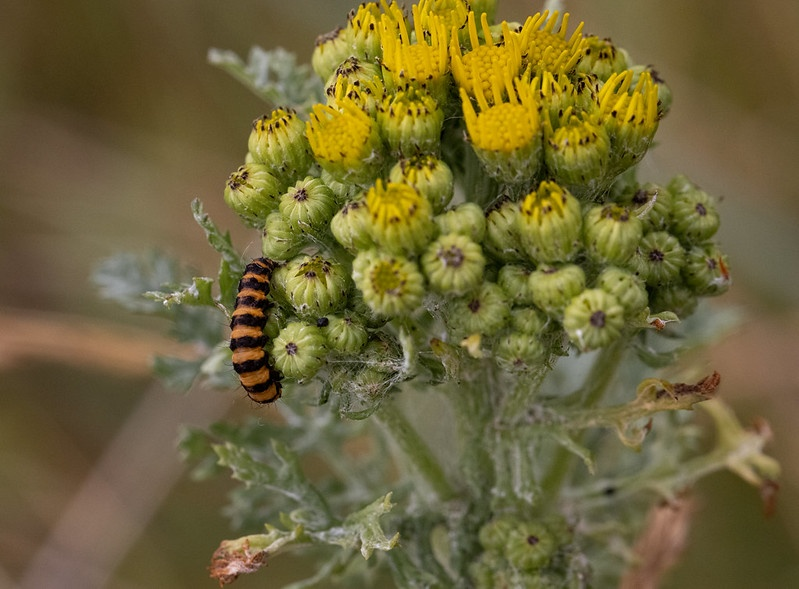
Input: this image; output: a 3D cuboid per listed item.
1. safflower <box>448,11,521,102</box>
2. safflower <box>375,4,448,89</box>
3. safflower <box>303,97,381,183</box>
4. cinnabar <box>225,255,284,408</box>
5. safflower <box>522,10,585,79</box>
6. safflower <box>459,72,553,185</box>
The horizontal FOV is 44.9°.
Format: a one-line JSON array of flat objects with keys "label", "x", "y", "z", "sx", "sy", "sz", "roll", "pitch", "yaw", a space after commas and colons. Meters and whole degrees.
[{"label": "safflower", "x": 0.414, "y": -1.128, "z": 4.630, "sx": 0.358, "sy": 0.421, "sz": 0.368, "roll": 20, "pitch": 48, "yaw": 43}, {"label": "safflower", "x": 0.056, "y": -1.136, "z": 4.523, "sx": 0.244, "sy": 0.452, "sz": 0.203, "roll": 23, "pitch": 34, "yaw": 38}, {"label": "safflower", "x": -0.242, "y": -0.765, "z": 4.631, "sx": 0.290, "sy": 0.387, "sz": 0.374, "roll": -38, "pitch": 10, "yaw": 12}, {"label": "cinnabar", "x": -0.653, "y": 0.164, "z": 4.465, "sx": 0.144, "sy": 0.668, "sz": 0.301, "roll": -5, "pitch": 0, "yaw": 39}, {"label": "safflower", "x": 0.727, "y": -1.213, "z": 4.717, "sx": 0.276, "sy": 0.342, "sz": 0.169, "roll": 12, "pitch": -15, "yaw": -1}, {"label": "safflower", "x": 0.490, "y": -0.769, "z": 4.450, "sx": 0.329, "sy": 0.485, "sz": 0.309, "roll": 0, "pitch": 16, "yaw": -5}]
